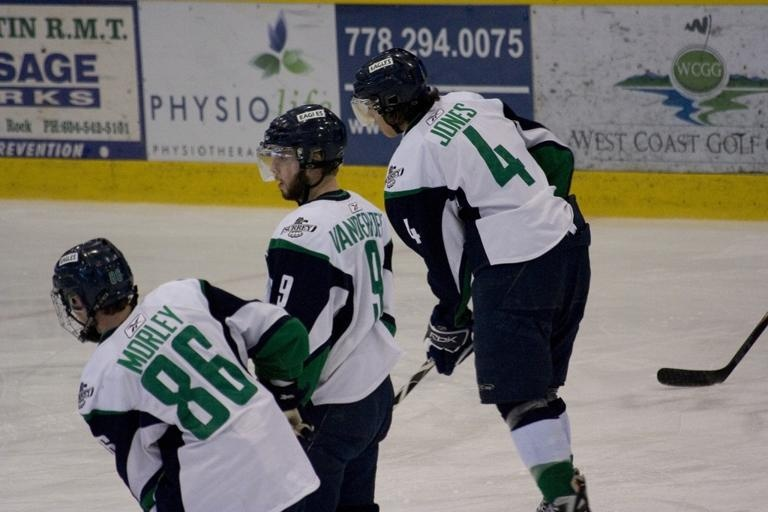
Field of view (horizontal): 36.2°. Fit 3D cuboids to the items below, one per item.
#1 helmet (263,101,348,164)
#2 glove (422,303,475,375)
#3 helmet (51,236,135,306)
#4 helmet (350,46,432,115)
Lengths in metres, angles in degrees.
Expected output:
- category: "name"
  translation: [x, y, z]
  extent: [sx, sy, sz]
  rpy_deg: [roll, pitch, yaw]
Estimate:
- category: "helmet"
  translation: [-0.428, -0.632, 6.210]
  extent: [0.401, 0.286, 0.297]
  rpy_deg: [-12, 15, -5]
- category: "glove"
  translation: [0.349, 0.470, 6.709]
  extent: [0.181, 0.408, 0.245]
  rpy_deg: [1, 30, -43]
- category: "helmet"
  translation: [-1.458, 0.064, 5.857]
  extent: [0.303, 0.369, 0.388]
  rpy_deg: [-24, 17, -38]
- category: "helmet"
  translation: [0.075, -0.974, 6.490]
  extent: [0.409, 0.373, 0.308]
  rpy_deg: [6, 36, 14]
